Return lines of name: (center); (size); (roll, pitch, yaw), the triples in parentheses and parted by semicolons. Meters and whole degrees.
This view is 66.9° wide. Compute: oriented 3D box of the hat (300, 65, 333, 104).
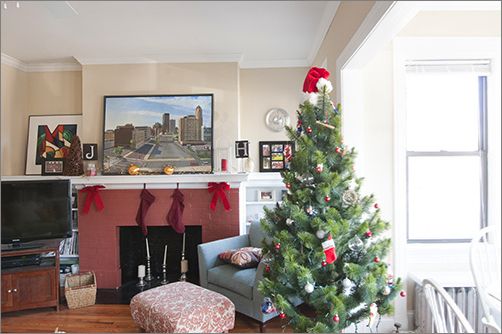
hat: (0.635, -0.786, 3.675); (0.261, 0.375, 0.257); (-1, 0, 9)

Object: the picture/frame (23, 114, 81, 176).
picture/frame: (-3.123, -0.315, 5.993); (0.979, 1.069, 0.036); (1, -7, -1)

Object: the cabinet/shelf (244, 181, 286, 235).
cabinet/shelf: (0.096, 0.553, 6.143); (0.323, 0.797, 0.822); (23, 10, 34)

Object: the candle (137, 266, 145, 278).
candle: (-1.656, 1.580, 5.732); (0.088, 0.194, 0.060); (-1, 0, -11)

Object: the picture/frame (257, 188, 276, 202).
picture/frame: (0.250, 0.439, 6.014); (0.209, 0.154, 0.021); (0, -7, 3)

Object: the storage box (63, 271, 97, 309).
storage box: (-2.363, 1.695, 5.244); (0.423, 0.308, 0.345); (-1, 15, -28)

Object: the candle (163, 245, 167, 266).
candle: (-1.316, 1.354, 5.827); (0.068, 0.308, 0.077); (-1, 0, -2)

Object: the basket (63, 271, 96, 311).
basket: (-2.365, 1.693, 5.250); (0.455, 0.310, 0.381); (2, 14, -22)

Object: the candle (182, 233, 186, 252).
candle: (-1.035, 1.145, 5.820); (0.058, 0.302, 0.063); (-1, 0, 0)

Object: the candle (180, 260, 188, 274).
candle: (-1.003, 1.495, 5.705); (0.091, 0.193, 0.056); (-1, 0, -22)

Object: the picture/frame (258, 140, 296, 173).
picture/frame: (0.388, -0.155, 5.640); (0.501, 0.432, 0.036); (1, -4, 1)

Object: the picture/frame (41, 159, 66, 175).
picture/frame: (-3.080, 0.000, 5.942); (0.229, 0.193, 0.030); (-2, -4, -4)

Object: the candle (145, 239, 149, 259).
candle: (-1.590, 1.248, 5.834); (0.068, 0.333, 0.129); (-1, 0, -21)

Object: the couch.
couch: (-0.063, 1.405, 5.300); (1.336, 1.382, 1.295); (0, -4, 39)
